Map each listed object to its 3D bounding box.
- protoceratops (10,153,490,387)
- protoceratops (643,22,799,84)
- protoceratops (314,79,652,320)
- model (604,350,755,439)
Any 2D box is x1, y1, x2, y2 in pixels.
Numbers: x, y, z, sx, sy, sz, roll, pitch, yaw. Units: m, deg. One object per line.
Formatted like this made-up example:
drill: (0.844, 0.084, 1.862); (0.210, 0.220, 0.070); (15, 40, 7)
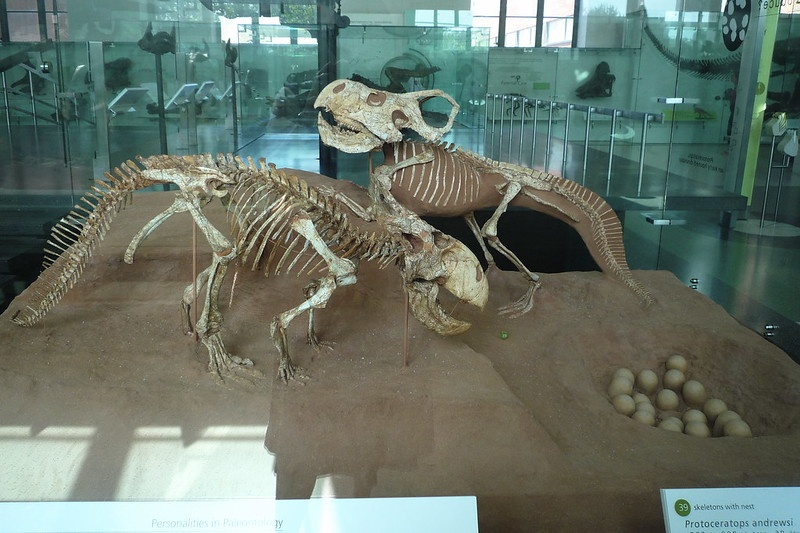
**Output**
protoceratops: (-1.007, 0.002, 3.657); (3.142, 1.331, 0.754); (2, 8, -5)
protoceratops: (2.308, -1.585, 3.949); (1.027, 0.432, 0.253); (10, 18, 27)
protoceratops: (0.624, -0.553, 4.106); (3.051, 1.829, 0.880); (7, 28, -8)
model: (1.877, 0.901, 3.722); (0.838, 0.301, 0.834); (6, 16, 15)
